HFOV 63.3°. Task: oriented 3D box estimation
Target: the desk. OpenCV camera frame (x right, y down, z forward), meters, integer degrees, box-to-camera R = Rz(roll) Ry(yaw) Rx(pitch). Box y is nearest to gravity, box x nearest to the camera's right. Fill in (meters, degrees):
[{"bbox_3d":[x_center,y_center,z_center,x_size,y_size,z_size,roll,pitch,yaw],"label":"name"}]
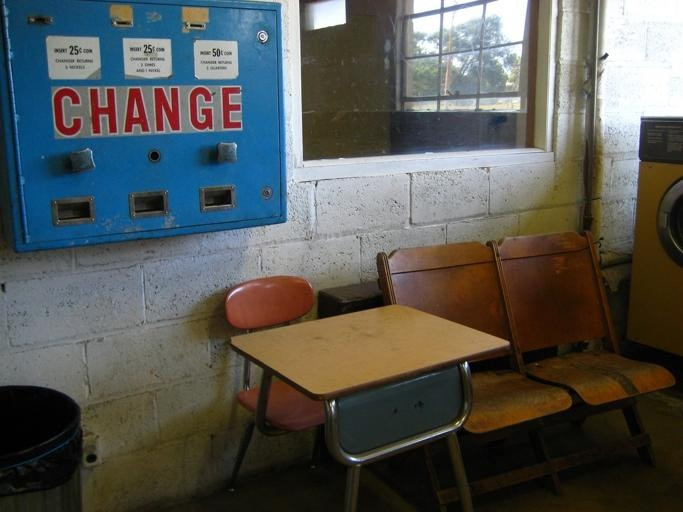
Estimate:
[{"bbox_3d":[0.103,0.653,2.180,0.906,0.705,0.595,-6,11,-27],"label":"desk"}]
